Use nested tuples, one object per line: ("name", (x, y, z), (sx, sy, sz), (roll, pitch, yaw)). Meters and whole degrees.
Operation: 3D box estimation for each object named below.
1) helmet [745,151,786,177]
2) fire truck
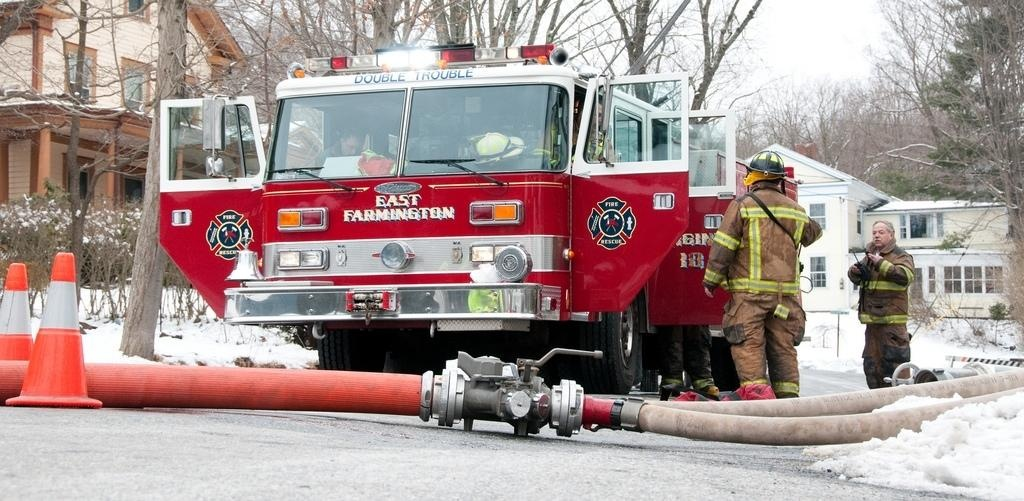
("helmet", (4.168, -1.419, 17.723), (0.458, 0.246, 0.535), (3, 15, -46))
("fire truck", (-0.915, -0.556, 18.736), (9.400, 6.014, 1.902), (0, -5, 5))
